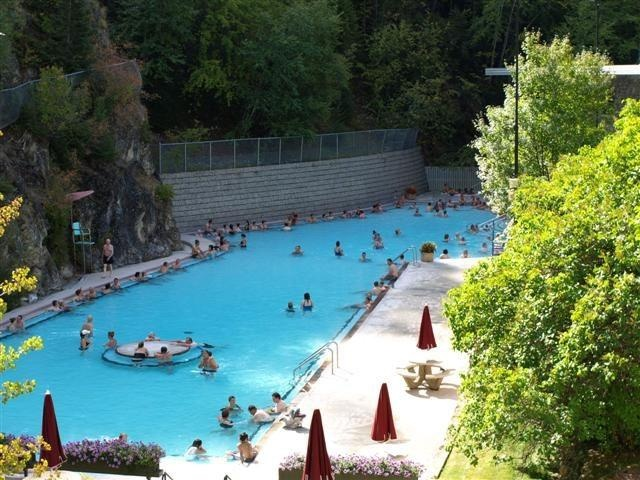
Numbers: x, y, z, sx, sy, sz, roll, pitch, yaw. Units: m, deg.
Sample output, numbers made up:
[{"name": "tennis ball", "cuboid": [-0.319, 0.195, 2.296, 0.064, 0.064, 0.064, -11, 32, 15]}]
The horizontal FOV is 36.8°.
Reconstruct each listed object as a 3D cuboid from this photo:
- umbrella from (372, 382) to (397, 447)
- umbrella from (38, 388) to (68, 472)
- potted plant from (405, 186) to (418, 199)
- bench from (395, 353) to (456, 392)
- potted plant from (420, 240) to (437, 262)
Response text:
[{"name": "umbrella", "cuboid": [1.741, 4.606, 26.135, 0.699, 1.625, 0.569, 0, 9, 3]}, {"name": "umbrella", "cuboid": [-6.841, 4.853, 24.456, 0.601, 2.108, 0.620, 4, 9, 23]}, {"name": "potted plant", "cuboid": [6.142, -3.159, 64.879, 0.719, 0.847, 0.749, -1, 5, -10]}, {"name": "bench", "cuboid": [3.178, 3.910, 28.998, 1.516, 0.941, 1.799, 3, 10, 15]}, {"name": "potted plant", "cuboid": [4.746, 0.498, 42.744, 0.754, 0.927, 0.705, -1, 6, -8]}]
